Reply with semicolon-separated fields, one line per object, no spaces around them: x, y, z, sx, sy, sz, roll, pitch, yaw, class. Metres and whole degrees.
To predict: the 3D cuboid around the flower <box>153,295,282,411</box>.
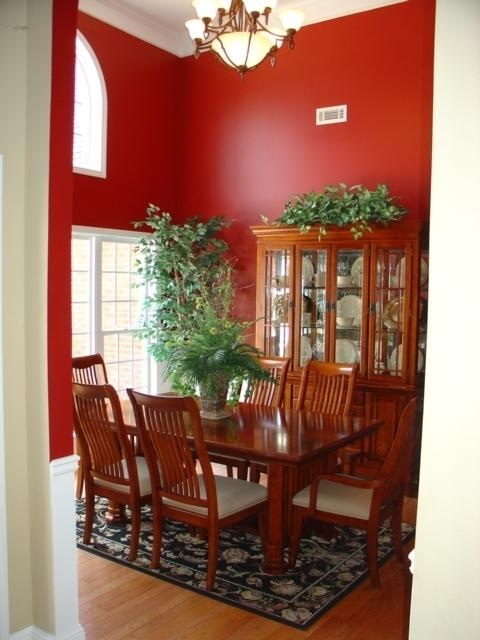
-0.138;0.337;3.477;0.564;0.625;0.638;6;-4;-5;flower

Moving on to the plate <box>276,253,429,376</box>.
1.069;-0.051;4.681;1.124;1.002;0.217;4;6;38;plate
